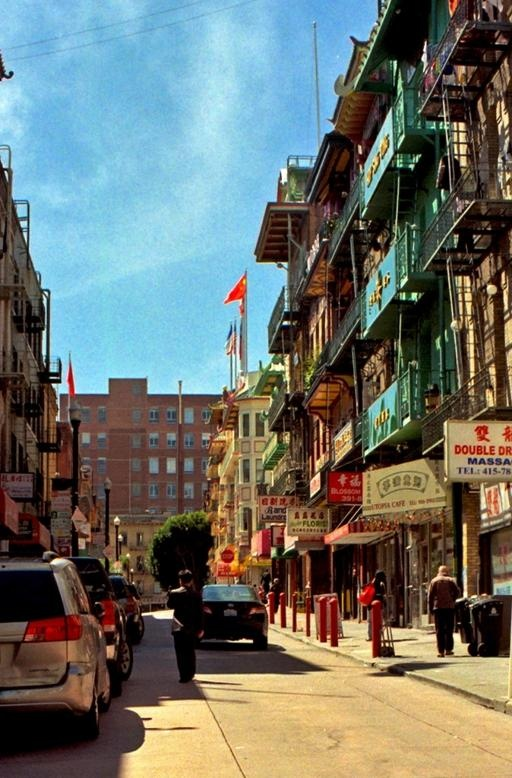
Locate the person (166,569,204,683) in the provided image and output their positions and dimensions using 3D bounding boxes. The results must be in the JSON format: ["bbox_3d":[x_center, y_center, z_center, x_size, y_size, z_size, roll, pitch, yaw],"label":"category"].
[{"bbox_3d":[-0.873,2.862,16.568,0.414,1.463,1.068,-1,-13,-2],"label":"person"}]

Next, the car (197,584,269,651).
[{"bbox_3d":[-0.399,4.141,24.535,0.763,0.896,2.156,0,-4,1],"label":"car"}]

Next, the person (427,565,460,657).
[{"bbox_3d":[2.851,3.350,20.574,0.463,1.375,0.646,1,-12,-11],"label":"person"}]
